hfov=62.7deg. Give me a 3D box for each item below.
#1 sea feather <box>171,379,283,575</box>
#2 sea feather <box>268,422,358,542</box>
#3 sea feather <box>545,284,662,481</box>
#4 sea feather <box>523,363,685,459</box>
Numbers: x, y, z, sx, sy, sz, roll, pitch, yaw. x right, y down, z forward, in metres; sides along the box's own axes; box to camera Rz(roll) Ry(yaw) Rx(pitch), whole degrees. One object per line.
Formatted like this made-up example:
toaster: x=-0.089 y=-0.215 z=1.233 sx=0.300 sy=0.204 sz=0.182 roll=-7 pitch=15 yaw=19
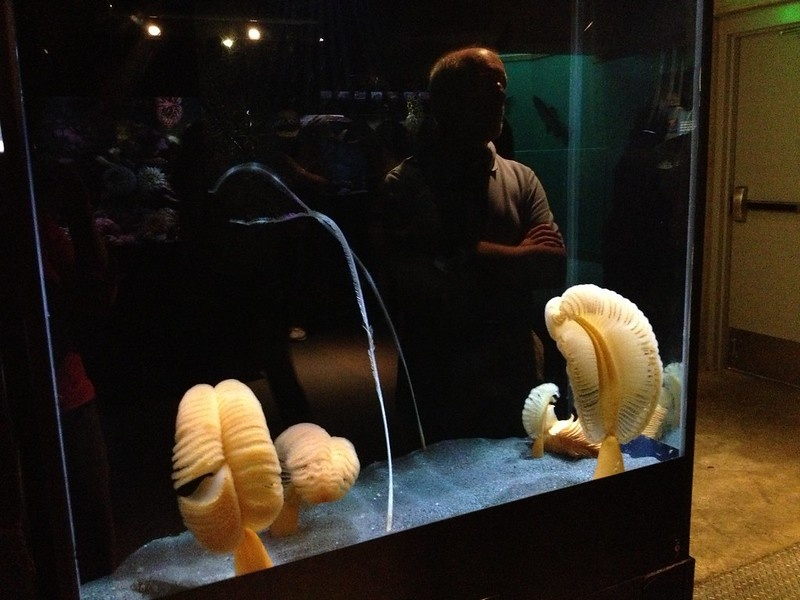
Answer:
sea feather: x=-0.324 y=0.343 z=1.241 sx=0.195 sy=0.379 sz=0.051 roll=-8 pitch=12 yaw=-23
sea feather: x=-0.187 y=0.355 z=1.357 sx=0.204 sy=0.265 sz=0.166 roll=7 pitch=1 yaw=-12
sea feather: x=0.489 y=0.223 z=1.583 sx=0.235 sy=0.586 sz=0.194 roll=-4 pitch=15 yaw=23
sea feather: x=0.465 y=0.252 z=1.541 sx=0.312 sy=0.165 sz=0.107 roll=-21 pitch=11 yaw=-10
